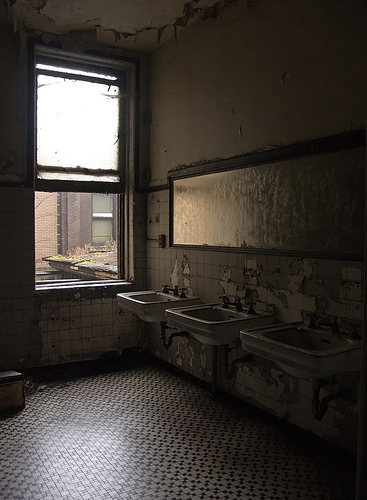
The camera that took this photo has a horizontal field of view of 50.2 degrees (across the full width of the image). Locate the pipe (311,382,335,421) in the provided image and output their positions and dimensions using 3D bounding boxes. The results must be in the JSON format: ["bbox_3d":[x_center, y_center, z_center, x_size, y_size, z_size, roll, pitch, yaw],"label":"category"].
[{"bbox_3d":[0.677,0.750,1.912,0.155,0.191,0.052,4,-5,-6],"label":"pipe"}]

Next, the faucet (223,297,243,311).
[{"bbox_3d":[0.360,0.382,2.749,0.050,0.093,0.141,0,2,-26],"label":"faucet"}]

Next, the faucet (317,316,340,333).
[{"bbox_3d":[0.763,0.396,2.047,0.134,0.097,0.047,-2,-3,44],"label":"faucet"}]

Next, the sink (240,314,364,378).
[{"bbox_3d":[0.617,0.487,1.946,0.451,0.273,0.577,0,-1,-29],"label":"sink"}]

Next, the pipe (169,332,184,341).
[{"bbox_3d":[-0.062,0.703,3.202,0.135,0.057,0.052,-18,-11,22],"label":"pipe"}]

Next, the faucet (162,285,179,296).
[{"bbox_3d":[-0.119,0.364,3.491,0.057,0.110,0.175,-2,4,-27],"label":"faucet"}]
